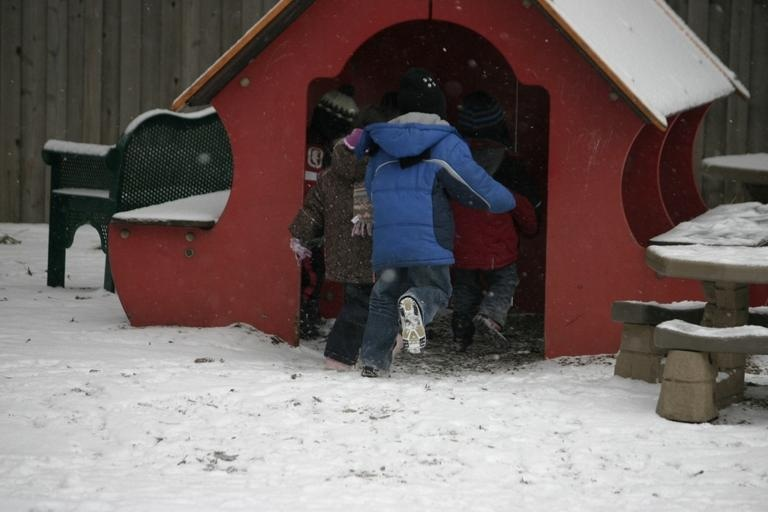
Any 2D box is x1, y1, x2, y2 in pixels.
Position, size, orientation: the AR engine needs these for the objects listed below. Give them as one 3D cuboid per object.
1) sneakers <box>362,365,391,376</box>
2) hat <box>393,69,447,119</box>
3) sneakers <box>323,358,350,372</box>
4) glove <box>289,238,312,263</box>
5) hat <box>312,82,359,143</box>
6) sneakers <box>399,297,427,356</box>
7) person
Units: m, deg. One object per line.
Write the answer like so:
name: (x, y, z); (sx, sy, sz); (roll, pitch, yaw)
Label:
sneakers: (-0.036, 0.783, 6.749); (0.240, 0.099, 0.073); (-1, 2, -19)
hat: (0.287, -1.106, 6.887); (0.333, 0.346, 0.299); (-7, 10, -30)
sneakers: (-0.321, 0.750, 6.821); (0.141, 0.149, 0.083); (1, 1, 4)
glove: (-0.577, -0.046, 7.066); (0.132, 0.173, 0.074); (-37, 6, 29)
hat: (-0.397, -1.193, 8.256); (0.326, 0.494, 0.311); (26, 20, -10)
sneakers: (0.195, 0.475, 6.623); (0.161, 0.369, 0.154); (-3, -6, 7)
person: (0.128, -0.228, 6.764); (1.414, 2.051, 0.442); (3, 0, 26)
